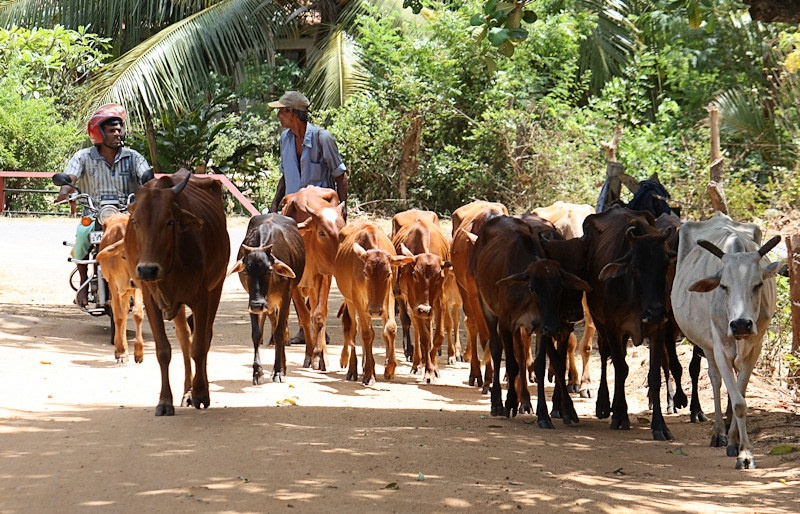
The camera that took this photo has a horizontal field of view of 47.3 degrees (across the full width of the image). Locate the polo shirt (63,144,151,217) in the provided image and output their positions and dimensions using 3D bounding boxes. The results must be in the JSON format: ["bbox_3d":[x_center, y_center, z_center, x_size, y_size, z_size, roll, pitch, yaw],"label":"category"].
[{"bbox_3d":[-4.973,-1.377,15.655,1.913,1.430,1.083,-1,-12,-11],"label":"polo shirt"}]

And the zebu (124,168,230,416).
[{"bbox_3d":[-3.083,0.405,12.734,0.978,3.490,1.948,-1,-3,11],"label":"zebu"}]

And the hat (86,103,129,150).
[{"bbox_3d":[-4.839,-2.229,15.022,0.488,0.653,0.619,2,-3,-38],"label":"hat"}]

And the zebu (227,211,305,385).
[{"bbox_3d":[-2.055,0.603,14.327,1.072,2.732,1.773,0,-3,-5],"label":"zebu"}]

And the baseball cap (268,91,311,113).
[{"bbox_3d":[-1.959,-2.708,15.932,0.597,0.223,0.392,4,10,11],"label":"baseball cap"}]

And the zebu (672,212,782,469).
[{"bbox_3d":[4.263,1.000,11.972,1.102,3.303,1.641,0,-3,-2],"label":"zebu"}]
